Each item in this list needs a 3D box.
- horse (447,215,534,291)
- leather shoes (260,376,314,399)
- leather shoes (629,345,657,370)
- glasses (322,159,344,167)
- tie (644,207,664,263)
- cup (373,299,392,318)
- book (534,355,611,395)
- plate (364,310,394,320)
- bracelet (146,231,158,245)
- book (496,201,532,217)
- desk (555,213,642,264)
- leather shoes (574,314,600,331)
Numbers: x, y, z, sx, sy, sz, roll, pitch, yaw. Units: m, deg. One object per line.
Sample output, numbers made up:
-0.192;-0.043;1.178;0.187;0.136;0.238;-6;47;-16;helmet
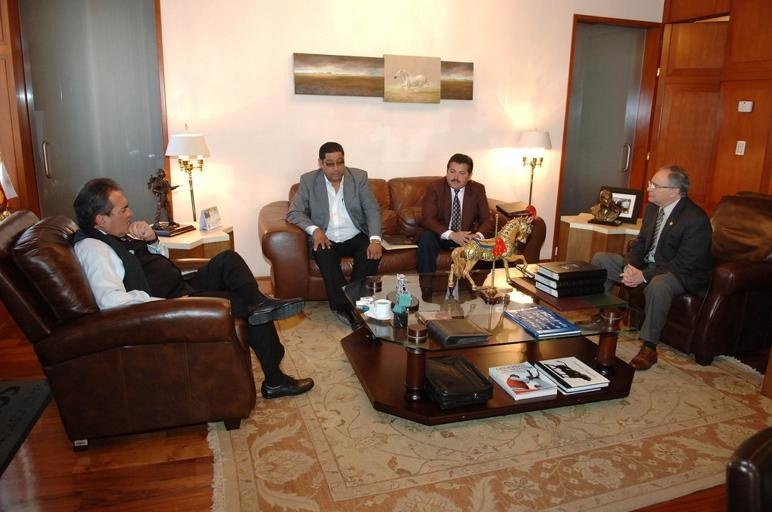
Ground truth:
0.799;-0.021;4.009;0.691;0.490;0.194;-5;10;-11;horse
-0.685;0.912;3.740;0.394;0.135;0.138;-3;9;-15;leather shoes
1.975;0.772;4.124;0.131;0.166;0.363;2;3;45;leather shoes
-0.478;-0.836;4.751;0.176;0.060;0.074;-5;21;-7;glasses
2.205;-0.172;4.364;0.091;0.460;0.076;13;3;-19;tie
-0.022;0.346;3.588;0.130;0.089;0.095;-6;17;-20;cup
1.272;0.804;3.588;0.275;0.051;0.262;-1;15;-11;book
-0.055;0.401;3.572;0.114;0.038;0.082;-2;9;-18;plate
-1.642;-0.127;3.716;0.070;0.061;0.087;32;26;-52;bracelet
1.264;-0.466;5.198;0.216;0.047;0.208;-9;20;-25;book
2.128;-0.225;5.451;0.625;0.571;0.604;0;16;-6;desk
1.388;0.449;3.619;0.241;0.090;0.085;-1;12;-30;leather shoes
